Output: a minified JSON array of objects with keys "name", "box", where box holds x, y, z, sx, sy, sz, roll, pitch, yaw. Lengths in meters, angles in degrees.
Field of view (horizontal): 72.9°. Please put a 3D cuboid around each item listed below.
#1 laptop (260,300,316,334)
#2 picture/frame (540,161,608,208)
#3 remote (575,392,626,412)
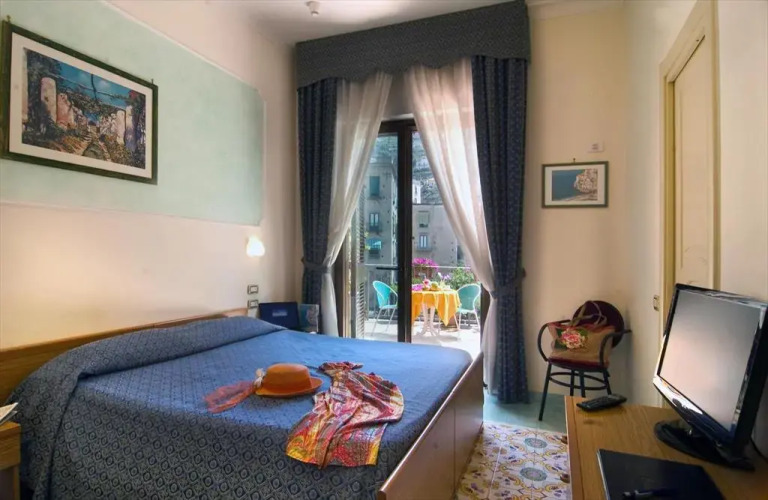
[{"name":"laptop","box":[-0.952,0.657,5.217,0.352,0.499,0.383,4,-7,-40]},{"name":"picture/frame","box":[1.793,-0.608,4.853,0.458,0.352,0.019,0,2,19]},{"name":"remote","box":[1.265,0.876,3.034,0.314,0.073,0.142,2,9,-9]}]
